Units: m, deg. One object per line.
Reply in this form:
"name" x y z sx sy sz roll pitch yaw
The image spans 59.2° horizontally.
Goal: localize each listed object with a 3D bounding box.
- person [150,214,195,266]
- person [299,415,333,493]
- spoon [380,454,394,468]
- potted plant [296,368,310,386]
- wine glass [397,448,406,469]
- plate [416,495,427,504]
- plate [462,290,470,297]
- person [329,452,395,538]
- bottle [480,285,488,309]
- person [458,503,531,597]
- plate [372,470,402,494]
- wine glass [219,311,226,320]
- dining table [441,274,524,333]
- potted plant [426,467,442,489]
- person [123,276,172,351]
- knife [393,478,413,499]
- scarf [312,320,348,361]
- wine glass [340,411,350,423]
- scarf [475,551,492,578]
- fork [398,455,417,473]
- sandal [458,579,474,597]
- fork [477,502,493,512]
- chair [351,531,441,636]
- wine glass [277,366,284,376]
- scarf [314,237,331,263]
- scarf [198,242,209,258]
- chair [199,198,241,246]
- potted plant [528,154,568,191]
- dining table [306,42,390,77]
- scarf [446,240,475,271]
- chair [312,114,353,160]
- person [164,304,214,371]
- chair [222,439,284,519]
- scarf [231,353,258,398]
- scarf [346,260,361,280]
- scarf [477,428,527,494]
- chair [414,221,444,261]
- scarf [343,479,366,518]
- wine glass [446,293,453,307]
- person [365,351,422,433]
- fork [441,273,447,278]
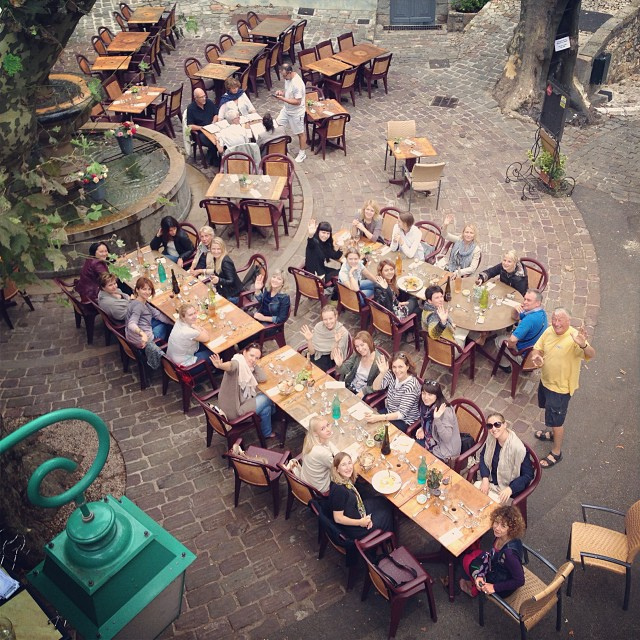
"person" -2.685 -1.197 10.248 0.735 1.177 0.585 -9 18 -27
"person" -0.032 1.574 6.460 0.296 0.816 0.288 -22 55 -12
"spoon" 0.778 1.649 6.704 0.049 0.038 0.349 -38 33 -1
"potted plant" -0.222 0.786 7.724 0.170 0.181 0.177 0 34 -1
"wine glass" 0.977 1.657 6.703 0.097 0.177 0.169 7 55 9
"plate" 1.125 1.981 6.185 0.106 0.026 0.111 23 41 31
"plate" 2.366 -0.409 9.046 0.108 0.053 0.156 27 43 35
"person" 0.476 2.023 6.168 0.755 1.192 0.554 -6 33 -8
"bottle" 2.552 -0.348 8.686 0.120 0.301 0.306 9 35 16
"person" 1.786 2.404 5.819 0.524 0.953 0.521 19 51 18
"plate" 0.770 1.843 6.402 0.335 0.032 0.336 3 34 5
"wine glass" -1.540 -0.050 8.908 0.091 0.098 0.092 -14 35 -18
"dining table" 2.568 -0.348 8.813 1.171 0.441 1.445 12 36 18
"potted plant" 1.244 1.721 6.200 0.203 0.234 0.197 3 38 5
"person" -2.707 -0.033 8.816 0.574 1.127 0.631 -17 36 -25
"knife" 0.970 1.876 6.394 0.066 0.027 0.479 19 37 30
"scarf" 0.150 0.340 8.279 0.404 0.471 0.246 17 28 21
"wine glass" 0.332 1.262 7.245 0.101 0.120 0.115 -2 42 12
"scarf" 1.704 2.558 5.844 0.115 0.152 0.151 41 85 15
"fork" 1.025 1.688 6.632 0.081 0.015 0.306 -21 35 -19
"sandal" 1.611 2.961 6.160 0.169 0.062 0.119 46 23 -4
"fork" 1.786 2.037 6.091 0.232 0.021 0.046 -29 43 -34
"chair" 0.794 2.850 5.977 0.538 0.775 0.551 -26 50 -10
"wine glass" -0.558 0.741 7.945 0.137 0.092 0.035 2 -7 -10
"scarf" 0.093 -1.226 9.844 0.231 0.326 0.108 -2 0 -29
"scarf" -2.079 -1.230 9.958 0.205 0.209 0.063 -24 -7 43
"chair" -1.980 -2.021 11.520 0.721 1.233 0.871 4 66 3
"potted plant" 5.244 -3.329 12.889 0.456 0.630 0.604 -35 54 -20
"dining table" 0.793 -7.397 16.148 2.244 0.541 0.981 -36 56 -25
"scarf" 2.411 -1.061 9.550 0.384 0.509 0.248 9 34 16
"chair" 0.290 -4.487 13.964 0.684 1.180 0.863 -15 63 -6
"person" -1.930 0.301 8.410 0.541 0.761 0.453 -33 70 -34
"chair" -0.867 2.082 7.175 0.500 0.904 0.651 11 55 9
"scarf" -0.964 0.748 7.356 0.193 0.550 0.339 -7 -2 41
"scarf" 0.544 -0.808 9.321 0.198 0.271 0.147 -23 50 -15
"scarf" 2.122 1.673 6.553 0.373 0.677 0.508 -2 30 -30
"chair" 2.116 -1.619 10.502 0.554 0.576 0.739 11 36 -6
"scarf" 0.404 1.937 6.117 0.111 0.397 0.286 -21 9 6
"wine glass" 2.067 -0.303 8.936 0.104 0.190 0.065 7 7 29
"person" 0.962 1.128 7.453 0.755 1.317 0.624 -7 17 -15
"fork" 2.089 -0.719 9.400 0.074 0.019 0.079 -40 26 1
